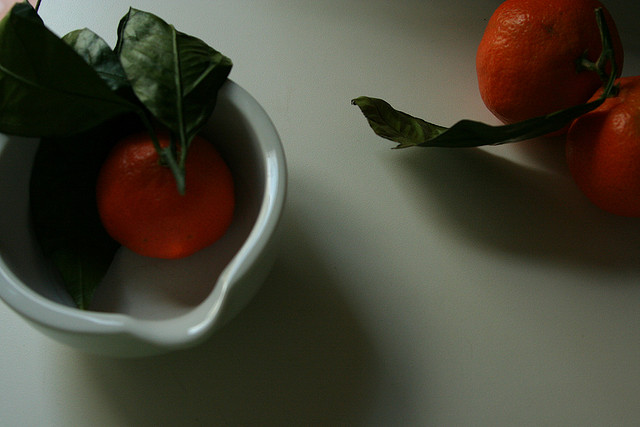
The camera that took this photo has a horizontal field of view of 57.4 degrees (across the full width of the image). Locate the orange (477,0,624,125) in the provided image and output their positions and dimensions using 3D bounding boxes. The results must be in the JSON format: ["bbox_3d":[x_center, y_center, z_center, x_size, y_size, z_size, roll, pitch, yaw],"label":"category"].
[{"bbox_3d":[0.263,-0.172,0.737,0.142,0.157,0.155,-16,-24,8],"label":"orange"}]
